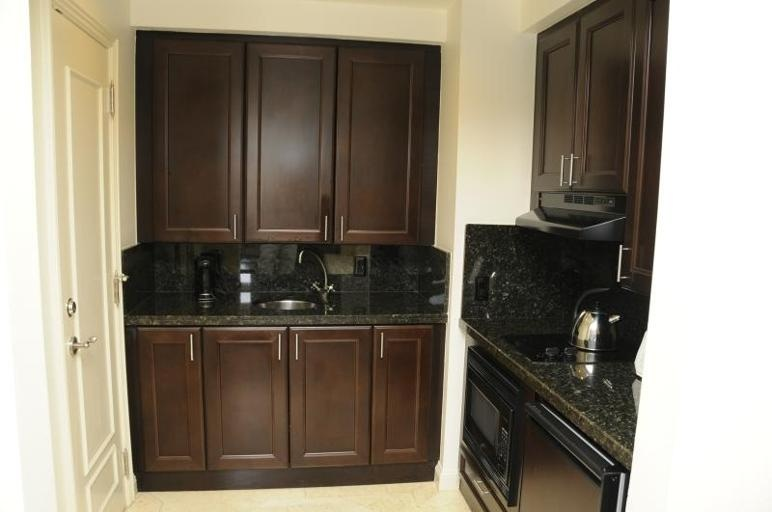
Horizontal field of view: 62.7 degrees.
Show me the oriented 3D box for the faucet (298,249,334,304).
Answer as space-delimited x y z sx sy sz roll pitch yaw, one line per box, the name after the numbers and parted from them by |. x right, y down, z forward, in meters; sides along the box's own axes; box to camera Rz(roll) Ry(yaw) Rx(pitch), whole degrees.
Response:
-0.455 0.116 4.053 0.236 0.338 0.233 -1 4 -5 | faucet

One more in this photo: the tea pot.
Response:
1.074 0.348 3.236 0.245 0.246 0.361 -7 5 -38 | tea pot
